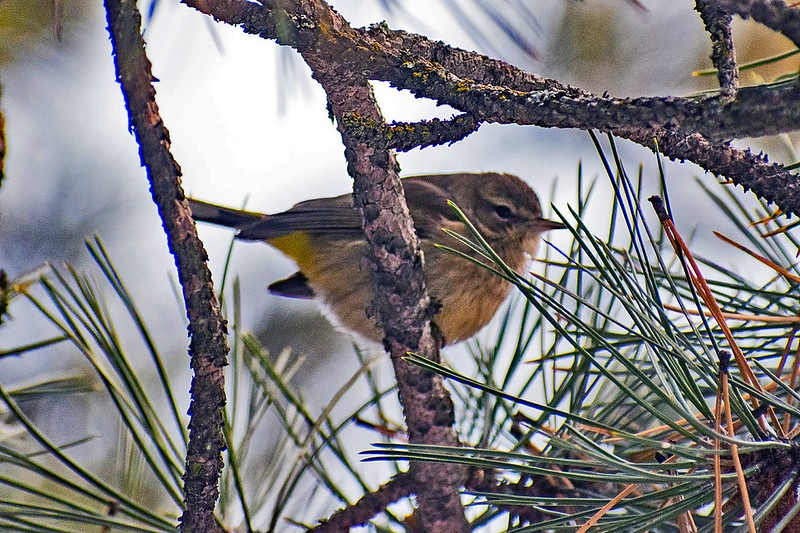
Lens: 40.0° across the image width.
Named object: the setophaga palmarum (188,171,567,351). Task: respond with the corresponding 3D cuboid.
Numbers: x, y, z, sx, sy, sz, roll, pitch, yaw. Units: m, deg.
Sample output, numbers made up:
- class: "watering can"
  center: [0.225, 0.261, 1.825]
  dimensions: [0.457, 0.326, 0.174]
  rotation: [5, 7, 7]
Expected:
- class: "setophaga palmarum"
  center: [-0.175, -0.044, 2.736]
  dimensions: [1.015, 0.317, 0.475]
  rotation: [8, -96, 16]
